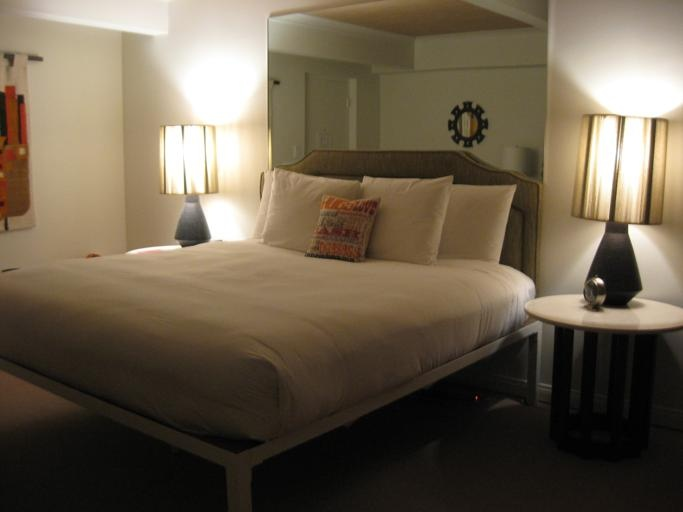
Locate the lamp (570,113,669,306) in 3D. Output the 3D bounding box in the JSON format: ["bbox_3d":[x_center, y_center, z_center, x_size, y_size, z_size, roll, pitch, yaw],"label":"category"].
[{"bbox_3d":[1.453,-0.250,2.807,0.435,0.992,0.374,7,12,29],"label":"lamp"}]

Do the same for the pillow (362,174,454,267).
[{"bbox_3d":[0.361,-0.237,3.205,0.544,0.489,0.363,5,11,19],"label":"pillow"}]

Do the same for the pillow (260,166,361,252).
[{"bbox_3d":[-0.192,-0.277,3.629,0.185,0.549,0.643,19,-8,-39],"label":"pillow"}]

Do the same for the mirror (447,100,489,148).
[{"bbox_3d":[0.810,-0.838,3.366,0.280,0.335,0.006,5,6,38],"label":"mirror"}]

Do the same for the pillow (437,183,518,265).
[{"bbox_3d":[0.791,-0.198,3.158,0.359,0.364,0.196,10,23,20],"label":"pillow"}]

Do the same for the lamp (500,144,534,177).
[{"bbox_3d":[1.079,-0.580,3.261,0.166,0.206,0.172,-1,8,-26],"label":"lamp"}]

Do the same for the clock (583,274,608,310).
[{"bbox_3d":[1.308,0.189,2.732,0.062,0.198,0.155,-1,5,-12],"label":"clock"}]
